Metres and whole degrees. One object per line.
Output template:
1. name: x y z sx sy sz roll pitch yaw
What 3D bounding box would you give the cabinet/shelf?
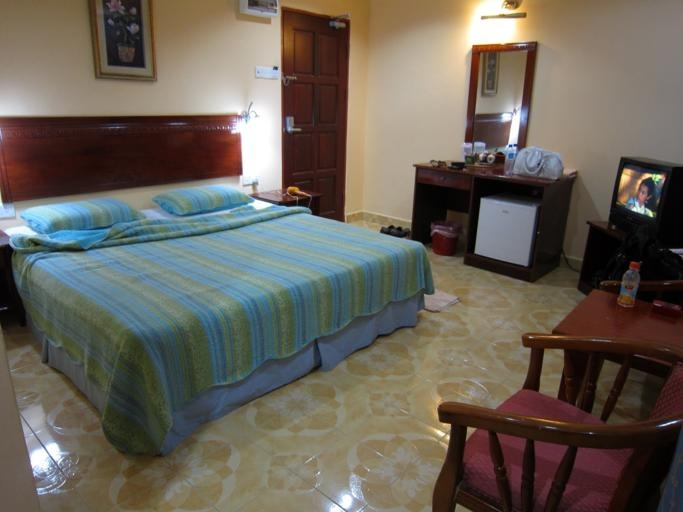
1. cabinet/shelf: 1.971 0.030 3.418 0.202 0.510 0.530 11 22 25

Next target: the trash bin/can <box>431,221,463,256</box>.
1. trash bin/can: 1.097 -0.202 5.266 0.348 0.342 0.306 -4 23 0

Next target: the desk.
1. desk: 1.519 -0.313 4.667 0.565 0.778 1.079 -8 19 -40

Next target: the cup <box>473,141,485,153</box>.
1. cup: 1.434 -1.132 5.052 0.102 0.116 0.103 -4 16 1

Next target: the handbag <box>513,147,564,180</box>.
1. handbag: 1.786 -0.849 4.452 0.131 0.252 0.444 -17 26 -42

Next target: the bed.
1. bed: -0.936 0.138 3.582 2.282 0.879 2.155 -17 25 -41

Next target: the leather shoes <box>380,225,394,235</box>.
1. leather shoes: 0.513 -0.291 5.621 0.115 0.062 0.169 1 15 0
